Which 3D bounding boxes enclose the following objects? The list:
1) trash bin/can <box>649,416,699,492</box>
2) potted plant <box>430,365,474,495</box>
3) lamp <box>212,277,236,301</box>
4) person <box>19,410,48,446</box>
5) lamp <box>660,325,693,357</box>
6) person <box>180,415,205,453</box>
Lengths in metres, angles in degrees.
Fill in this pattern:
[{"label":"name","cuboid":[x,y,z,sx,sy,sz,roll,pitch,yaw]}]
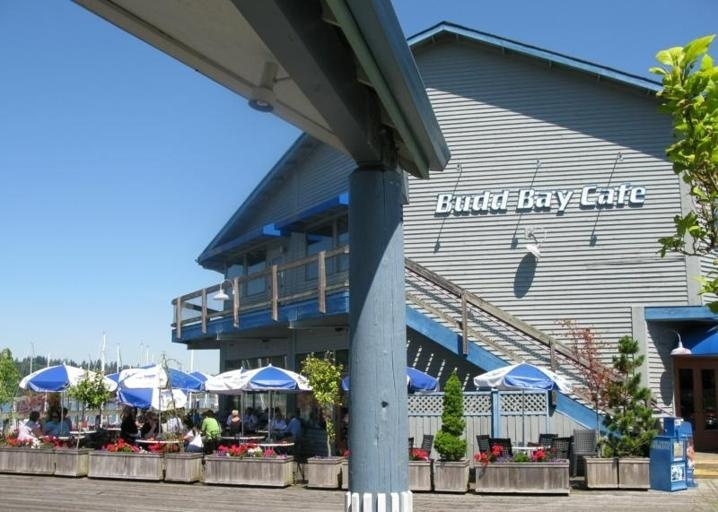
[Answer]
[{"label":"trash bin/can","cuboid":[7.918,5.061,25.276,1.542,2.254,0.790,8,-12,-39]},{"label":"potted plant","cuboid":[2.311,4.443,25.239,0.863,3.048,0.426,0,-16,4]},{"label":"lamp","cuboid":[-4.501,1.235,33.418,0.713,0.750,1.710,4,-17,-9]},{"label":"person","cuboid":[-9.330,4.876,28.513,0.600,1.066,0.581,9,16,13]},{"label":"lamp","cuboid":[9.412,2.494,29.310,0.597,0.955,1.298,-4,-17,18]},{"label":"person","cuboid":[-4.634,4.917,27.507,0.295,0.880,0.632,-13,-19,5]}]
